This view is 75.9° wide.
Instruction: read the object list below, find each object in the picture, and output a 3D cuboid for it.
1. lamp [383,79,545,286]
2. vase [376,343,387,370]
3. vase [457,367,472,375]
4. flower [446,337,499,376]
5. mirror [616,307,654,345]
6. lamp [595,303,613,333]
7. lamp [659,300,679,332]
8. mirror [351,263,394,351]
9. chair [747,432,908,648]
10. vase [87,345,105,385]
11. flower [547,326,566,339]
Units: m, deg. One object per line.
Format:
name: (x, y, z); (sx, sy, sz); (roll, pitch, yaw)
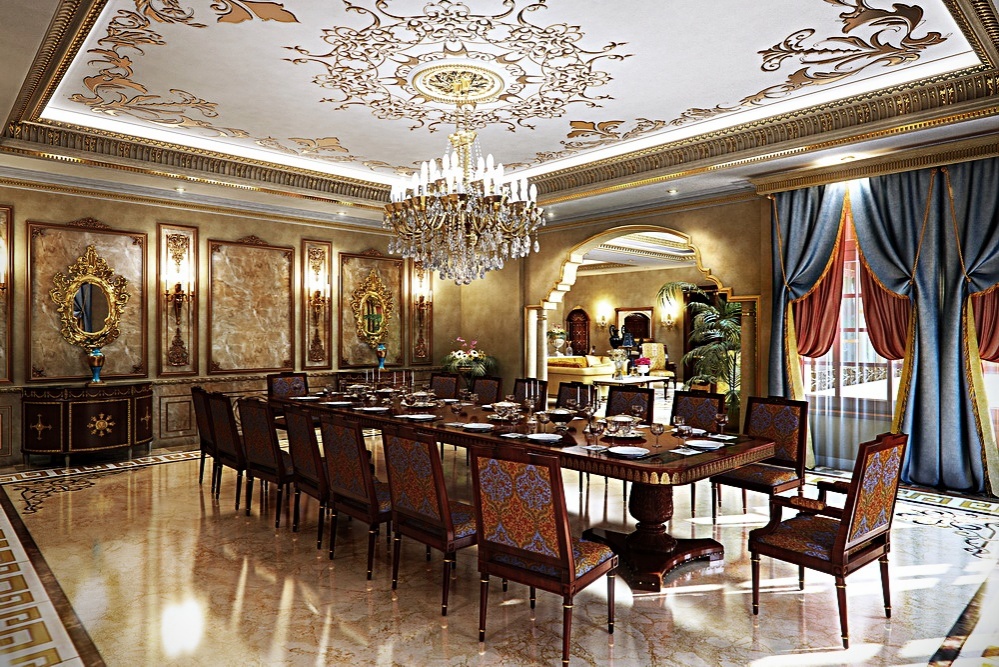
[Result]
lamp: (-0.348, -1.270, 6.374); (1.476, 1.530, 0.780); (2, 11, 9)
vase: (-1.927, 0.405, 10.549); (0.185, 0.452, 0.609); (-2, 10, -10)
vase: (-0.597, 0.671, 10.812); (0.246, 0.148, 0.137); (-6, -10, 41)
flower: (-0.492, 0.410, 11.059); (0.765, 0.658, 0.715); (-2, -2, -4)
mirror: (3.637, -0.200, 17.127); (0.334, 0.943, 1.090); (7, -8, -43)
lamp: (2.959, -0.516, 18.312); (0.640, 0.888, 0.239); (10, 15, 43)
lamp: (4.548, -0.488, 17.197); (0.546, 0.849, 0.141); (7, 13, 33)
mirror: (-2.098, -0.392, 10.682); (0.274, 1.343, 0.719); (8, 13, 36)
chair: (2.271, 1.322, 4.475); (0.888, 1.344, 0.814); (6, 12, 31)
vase: (-5.089, 0.402, 8.136); (0.190, 0.453, 0.573); (-7, 12, -33)
flower: (1.308, -0.074, 14.649); (0.416, 0.182, 0.534); (0, -5, -5)
